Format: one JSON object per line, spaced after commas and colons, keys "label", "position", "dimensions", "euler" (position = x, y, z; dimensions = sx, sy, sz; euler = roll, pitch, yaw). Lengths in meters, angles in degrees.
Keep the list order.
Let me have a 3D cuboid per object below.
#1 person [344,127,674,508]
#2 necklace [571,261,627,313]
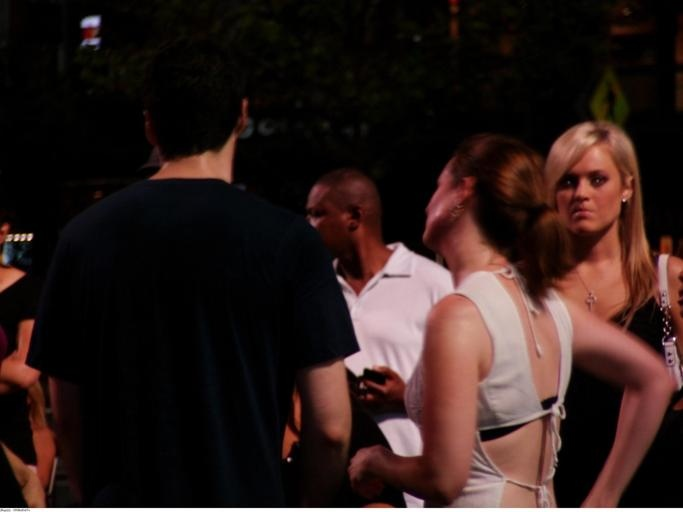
{"label": "person", "position": [0.770, 0.333, 3.358], "dimensions": [1.164, 1.682, 0.489], "euler": [1, 3, -26]}
{"label": "necklace", "position": [1.374, 0.173, 4.165], "dimensions": [0.078, 0.262, 0.102], "euler": [-31, -16, -30]}
